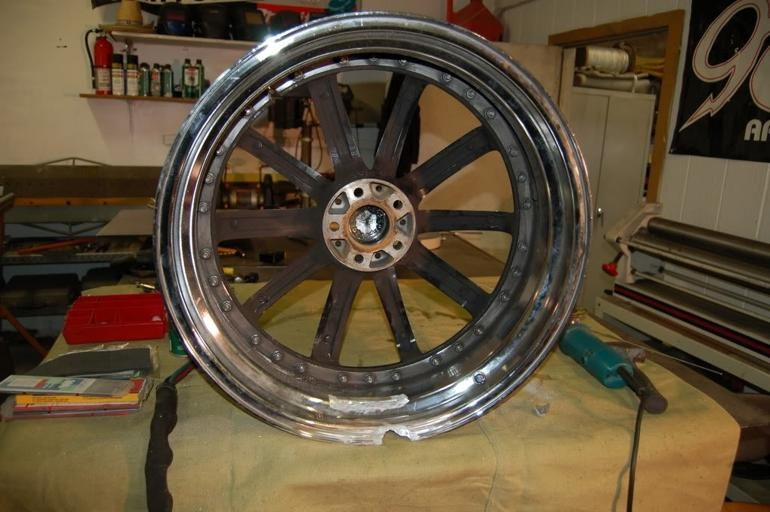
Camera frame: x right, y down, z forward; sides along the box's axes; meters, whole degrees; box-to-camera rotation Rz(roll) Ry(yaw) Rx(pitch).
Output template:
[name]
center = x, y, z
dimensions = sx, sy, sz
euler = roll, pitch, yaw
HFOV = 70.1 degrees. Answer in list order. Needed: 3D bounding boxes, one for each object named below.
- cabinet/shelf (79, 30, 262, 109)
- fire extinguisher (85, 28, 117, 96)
[cabinet/shelf]
center = -1.667, -1.512, 4.420
dimensions = 1.345, 0.535, 0.343
euler = -2, 14, -4
[fire extinguisher]
center = -2.250, -1.556, 4.347
dimensions = 0.184, 0.578, 0.355
euler = 4, -8, -35
